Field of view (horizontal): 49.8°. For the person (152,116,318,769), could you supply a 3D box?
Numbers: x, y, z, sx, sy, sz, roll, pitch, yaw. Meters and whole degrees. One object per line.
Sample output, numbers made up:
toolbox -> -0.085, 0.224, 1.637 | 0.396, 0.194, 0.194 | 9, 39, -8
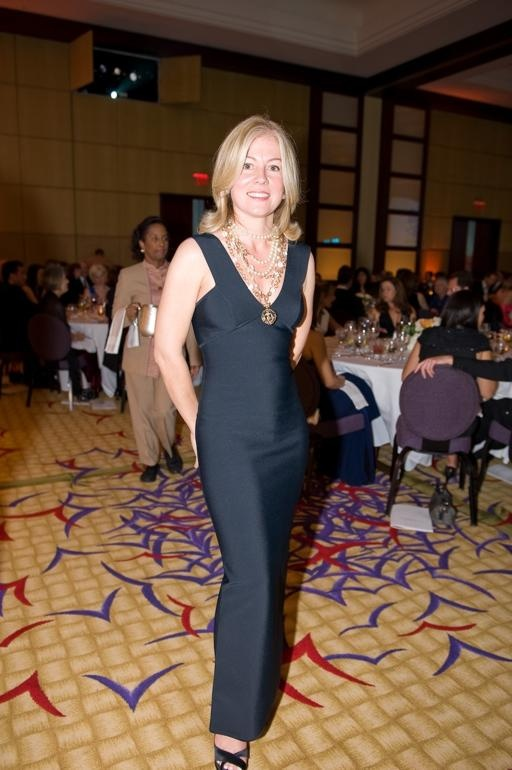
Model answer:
person -> 0.001, 0.107, 1.212 | 0.210, 1.306, 0.420 | 9, 12, 42

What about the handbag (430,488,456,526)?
handbag -> 1.028, 0.673, 3.047 | 0.136, 0.190, 0.189 | 3, 9, 11

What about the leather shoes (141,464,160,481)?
leather shoes -> -0.684, 0.580, 3.553 | 0.060, 0.123, 0.180 | 4, -4, 4
